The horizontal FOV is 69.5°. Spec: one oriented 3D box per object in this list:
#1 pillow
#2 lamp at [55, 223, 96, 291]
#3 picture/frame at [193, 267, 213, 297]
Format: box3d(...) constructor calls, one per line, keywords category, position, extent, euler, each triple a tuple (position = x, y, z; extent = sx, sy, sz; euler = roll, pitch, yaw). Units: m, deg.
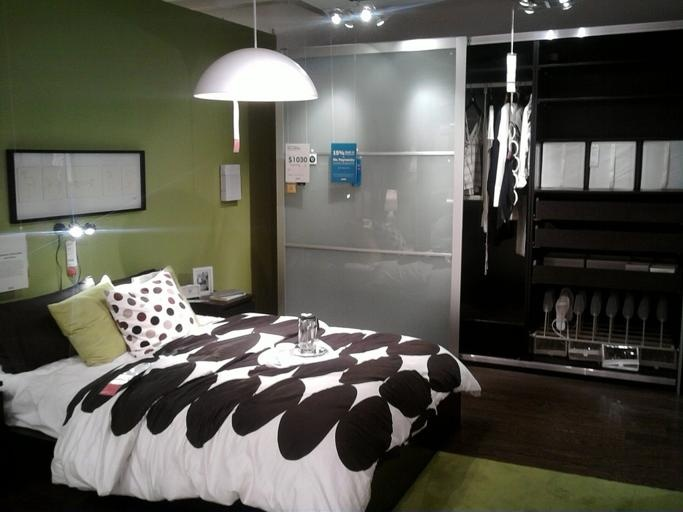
box3d(category="pillow", position=(-1.420, 0.424, 3.158), extent=(0.583, 0.578, 0.177), euler=(-23, -12, -47))
box3d(category="lamp", position=(-1.788, -0.022, 3.302), extent=(0.202, 0.361, 0.224), euler=(-24, -20, 34))
box3d(category="picture/frame", position=(-1.217, 0.225, 4.284), extent=(0.026, 0.281, 0.204), euler=(0, 6, 38))
